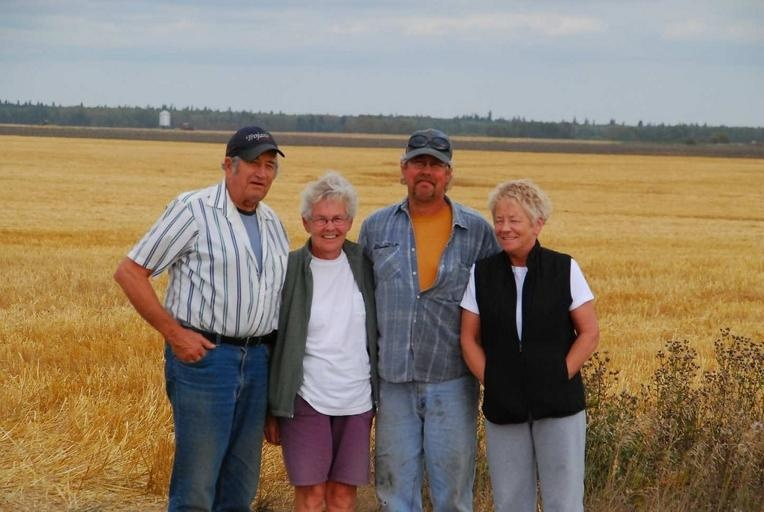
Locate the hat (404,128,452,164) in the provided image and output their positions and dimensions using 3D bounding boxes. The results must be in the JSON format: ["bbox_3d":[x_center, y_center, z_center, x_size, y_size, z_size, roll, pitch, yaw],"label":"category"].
[{"bbox_3d":[0.513,-1.167,8.713,0.492,0.374,0.712,5,2,12],"label":"hat"}]

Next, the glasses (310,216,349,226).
[{"bbox_3d":[-0.513,-0.347,8.274,0.380,0.117,0.076,10,-5,-5],"label":"glasses"}]

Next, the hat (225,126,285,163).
[{"bbox_3d":[-1.293,-1.142,8.430,0.527,0.378,0.710,-5,4,-40],"label":"hat"}]
